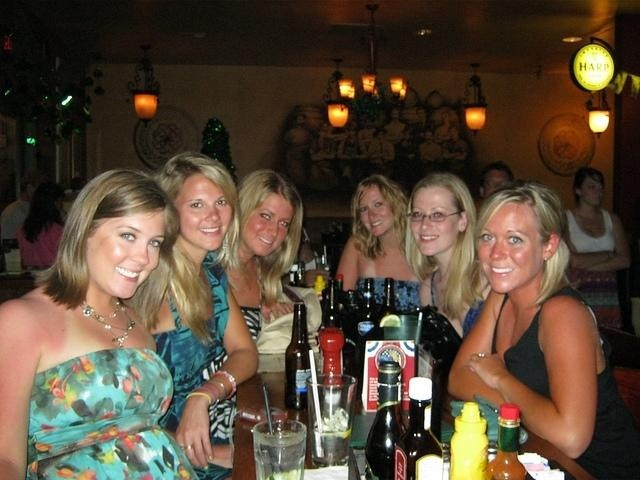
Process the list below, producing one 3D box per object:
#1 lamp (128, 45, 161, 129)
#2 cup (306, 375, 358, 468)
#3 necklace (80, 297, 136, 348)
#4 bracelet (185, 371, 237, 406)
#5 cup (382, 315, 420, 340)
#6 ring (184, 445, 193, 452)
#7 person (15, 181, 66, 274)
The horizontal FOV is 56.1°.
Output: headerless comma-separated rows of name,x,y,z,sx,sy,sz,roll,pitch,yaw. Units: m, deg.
lamp,-2.544,-2.215,8.655,0.444,1.409,1.637,0,-10,-17
cup,0.044,0.624,2.080,0.164,0.309,0.172,-2,-8,0
necklace,-0.864,0.338,2.457,0.053,0.137,0.188,-28,-53,33
bracelet,-0.469,0.657,2.651,0.170,0.064,0.128,-28,-28,12
cup,0.312,0.342,2.319,0.104,0.068,0.107,0,-12,0
ring,-0.547,0.865,2.488,0.023,0.019,0.025,2,-3,0
person,-2.904,-0.041,6.154,0.426,0.315,1.020,8,-50,-20
